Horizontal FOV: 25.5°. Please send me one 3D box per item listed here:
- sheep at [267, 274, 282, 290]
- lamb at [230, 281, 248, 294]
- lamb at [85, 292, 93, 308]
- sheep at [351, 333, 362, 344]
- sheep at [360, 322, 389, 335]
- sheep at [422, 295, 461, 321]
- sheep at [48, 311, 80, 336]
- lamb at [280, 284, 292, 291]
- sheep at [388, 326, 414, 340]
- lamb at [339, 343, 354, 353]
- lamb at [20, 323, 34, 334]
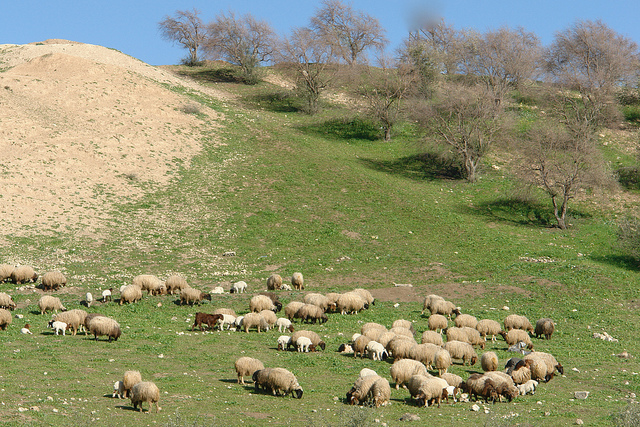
[{"bbox_3d":[-3.972,6.451,128.589,0.872,1.063,1.692,1,7,-25],"label":"sheep"},{"bbox_3d":[-7.326,6.908,128.055,1.806,0.996,0.947,6,-2,-23],"label":"lamb"},{"bbox_3d":[-20.045,7.726,123.427,0.532,1.189,1.003,7,-2,-11],"label":"lamb"},{"bbox_3d":[3.080,10.836,120.166,0.887,0.815,1.635,1,-4,-7],"label":"sheep"},{"bbox_3d":[4.663,10.049,121.063,2.158,1.177,0.884,-1,10,-6],"label":"sheep"},{"bbox_3d":[10.814,8.711,125.591,3.880,1.758,1.260,12,1,-24],"label":"sheep"},{"bbox_3d":[-21.937,9.452,121.168,3.262,1.971,1.361,2,-12,3],"label":"sheep"},{"bbox_3d":[-3.105,6.898,128.856,0.680,0.315,0.771,2,0,19],"label":"lamb"},{"bbox_3d":[6.920,10.401,120.647,2.081,0.958,0.843,4,15,-7],"label":"sheep"},{"bbox_3d":[2.245,11.651,120.109,1.214,0.651,0.510,5,-2,4],"label":"lamb"},{"bbox_3d":[-24.752,9.992,119.950,0.920,0.803,0.843,6,-2,-10],"label":"lamb"}]
